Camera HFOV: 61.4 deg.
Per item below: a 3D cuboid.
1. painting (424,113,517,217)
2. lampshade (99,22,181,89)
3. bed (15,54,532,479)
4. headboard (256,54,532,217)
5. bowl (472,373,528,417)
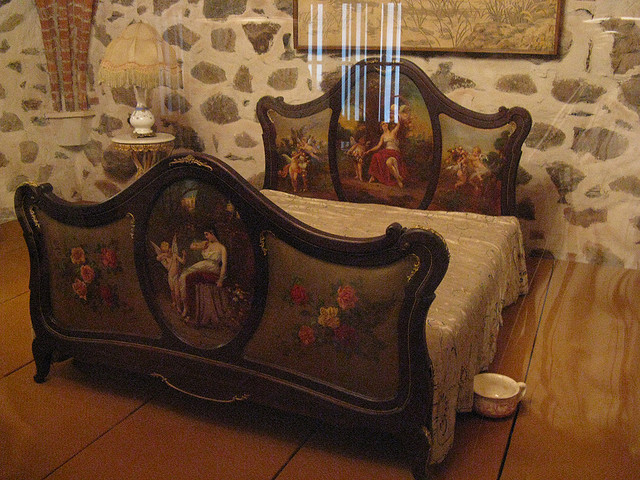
[{"bbox_3d":[1.091,-0.585,3.877,0.567,0.707,0.419,11,19,24],"label":"painting"},{"bbox_3d":[-1.384,-1.385,4.246,0.456,0.605,0.443,8,20,15],"label":"lampshade"},{"bbox_3d":[0.056,-0.213,3.233,2.123,1.702,2.841,11,21,27],"label":"bed"},{"bbox_3d":[0.465,-0.730,3.951,1.961,1.411,0.060,7,51,13],"label":"headboard"},{"bbox_3d":[0.876,0.750,2.643,0.235,0.109,0.198,-3,9,-16],"label":"bowl"}]
